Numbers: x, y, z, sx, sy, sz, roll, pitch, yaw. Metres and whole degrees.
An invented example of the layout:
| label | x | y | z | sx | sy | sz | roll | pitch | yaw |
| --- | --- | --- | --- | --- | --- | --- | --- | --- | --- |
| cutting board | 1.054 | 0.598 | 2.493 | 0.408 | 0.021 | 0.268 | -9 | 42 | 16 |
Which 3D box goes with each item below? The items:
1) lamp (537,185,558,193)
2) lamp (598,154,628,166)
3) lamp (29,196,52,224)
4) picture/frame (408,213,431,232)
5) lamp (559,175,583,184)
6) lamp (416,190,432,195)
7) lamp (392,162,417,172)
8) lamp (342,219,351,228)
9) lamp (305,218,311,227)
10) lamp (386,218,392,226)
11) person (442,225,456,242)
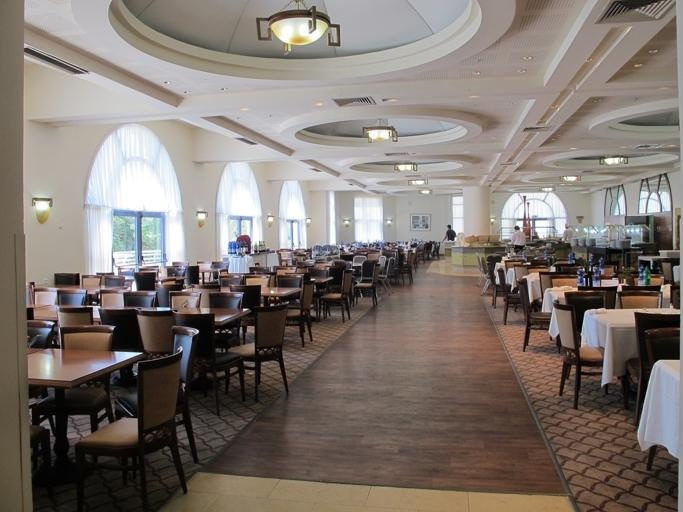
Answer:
| label | x | y | z | sx | sy | sz | roll | pitch | yaw |
| --- | --- | --- | --- | --- | --- | --- | --- | --- | --- |
| lamp | 10.562 | -3.488 | 24.526 | 0.696 | 0.166 | 2.016 | 1 | 6 | 24 |
| lamp | 8.880 | -3.102 | 15.478 | 0.723 | 0.286 | 2.260 | 3 | 6 | 33 |
| lamp | -5.585 | -0.848 | 8.858 | 0.118 | 0.487 | 0.332 | 1 | 6 | 20 |
| picture/frame | 4.807 | -2.117 | 29.255 | 1.140 | 0.972 | 0.108 | 0 | 1 | 3 |
| lamp | 9.477 | -3.215 | 19.736 | 0.686 | 0.165 | 0.685 | 0 | -3 | 3 |
| lamp | 4.171 | -3.287 | 24.325 | 0.632 | 0.149 | 0.577 | 0 | -1 | -29 |
| lamp | 1.935 | -2.685 | 14.324 | 0.541 | 0.205 | 1.017 | 1 | 6 | 17 |
| lamp | 0.263 | -1.944 | 27.826 | 0.398 | 0.387 | 0.395 | -1 | -2 | 1 |
| lamp | -1.693 | -1.716 | 23.624 | 0.340 | 0.342 | 0.507 | 1 | 4 | -3 |
| lamp | 2.923 | -2.141 | 29.665 | 0.365 | 0.360 | 0.337 | -1 | 1 | 5 |
| person | 5.606 | -1.181 | 24.704 | 0.454 | 0.850 | 2.079 | 0 | 6 | 12 |
